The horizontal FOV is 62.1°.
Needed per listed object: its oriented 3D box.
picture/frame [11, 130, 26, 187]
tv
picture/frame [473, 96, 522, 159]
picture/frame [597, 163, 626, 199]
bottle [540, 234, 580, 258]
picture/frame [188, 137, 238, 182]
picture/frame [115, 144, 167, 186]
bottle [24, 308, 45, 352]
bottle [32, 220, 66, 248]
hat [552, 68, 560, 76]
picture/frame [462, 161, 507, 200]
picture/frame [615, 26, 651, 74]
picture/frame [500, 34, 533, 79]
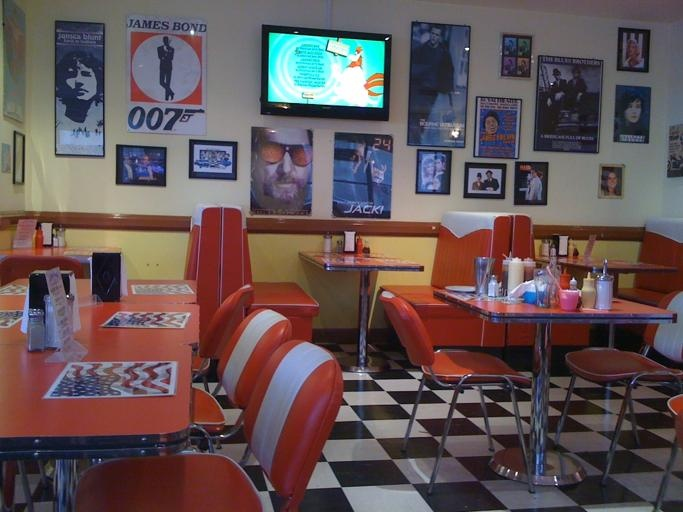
[{"bbox_3d":[-3.060,-0.931,5.340,0.055,0.514,0.299,-1,8,-18],"label":"picture/frame"},{"bbox_3d":[-0.218,-1.938,5.899,0.921,0.691,0.071,1,3,-9],"label":"tv"},{"bbox_3d":[1.706,-1.468,6.294,0.634,0.880,0.053,1,3,-16],"label":"picture/frame"},{"bbox_3d":[3.114,-0.899,6.573,0.381,0.553,0.036,1,1,-8],"label":"picture/frame"},{"bbox_3d":[2.337,-0.116,6.131,0.454,0.268,0.322,3,1,5],"label":"bottle"},{"bbox_3d":[-1.361,-1.018,5.858,0.425,0.385,0.031,0,3,-13],"label":"picture/frame"},{"bbox_3d":[-2.068,-0.945,5.751,0.394,0.355,0.042,0,6,-13],"label":"picture/frame"},{"bbox_3d":[-1.238,0.295,2.290,0.065,0.162,0.082,-3,9,-30],"label":"bottle"},{"bbox_3d":[-2.829,-0.215,5.475,0.266,0.231,0.336,-2,9,-27],"label":"bottle"},{"bbox_3d":[2.404,-2.070,6.360,0.074,0.080,0.081,-8,11,-21],"label":"hat"},{"bbox_3d":[1.574,-0.872,6.328,0.392,0.357,0.032,0,3,-9],"label":"picture/frame"},{"bbox_3d":[3.322,-2.396,6.497,0.503,0.664,0.042,1,7,-14],"label":"picture/frame"},{"bbox_3d":[1.912,-2.242,6.274,0.458,0.587,0.057,-1,5,-16],"label":"picture/frame"}]
